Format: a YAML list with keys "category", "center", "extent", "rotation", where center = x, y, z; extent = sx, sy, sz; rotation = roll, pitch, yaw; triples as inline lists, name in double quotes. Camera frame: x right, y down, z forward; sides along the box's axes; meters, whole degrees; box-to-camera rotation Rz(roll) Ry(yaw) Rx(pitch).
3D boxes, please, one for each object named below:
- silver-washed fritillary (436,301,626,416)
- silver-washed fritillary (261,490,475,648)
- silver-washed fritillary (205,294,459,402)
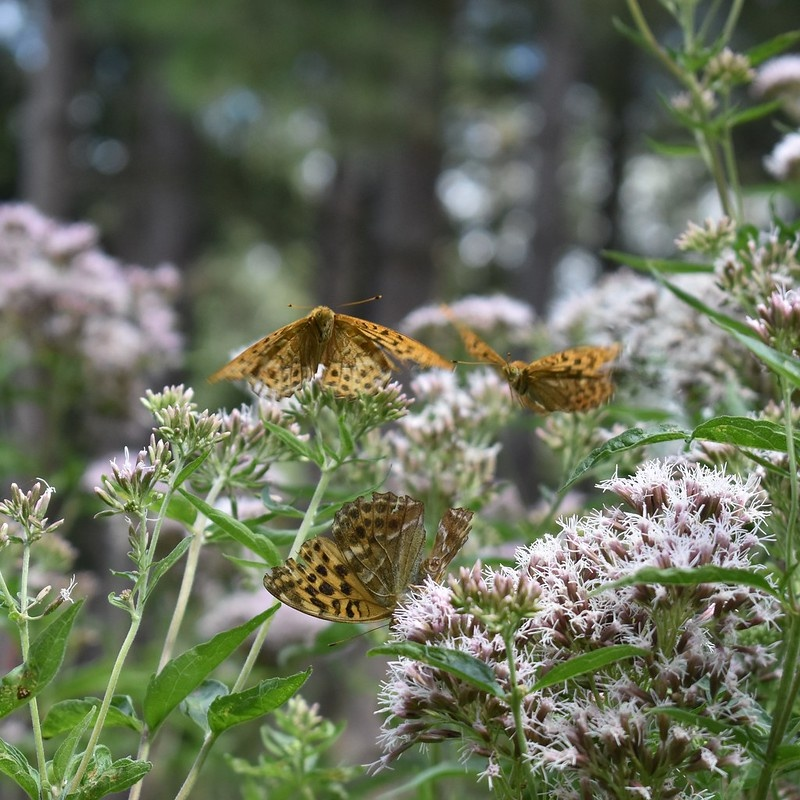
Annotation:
- category: "silver-washed fritillary"
  center: [0.331, -0.081, 3.566]
  extent: [0.403, 0.197, 0.274]
  rotation: [14, 5, 40]
- category: "silver-washed fritillary"
  center: [-0.081, 0.346, 3.035]
  extent: [0.261, 0.293, 0.445]
  rotation: [14, -5, 33]
- category: "silver-washed fritillary"
  center: [-0.174, -0.104, 3.320]
  extent: [0.533, 0.211, 0.143]
  rotation: [2, -22, 2]
